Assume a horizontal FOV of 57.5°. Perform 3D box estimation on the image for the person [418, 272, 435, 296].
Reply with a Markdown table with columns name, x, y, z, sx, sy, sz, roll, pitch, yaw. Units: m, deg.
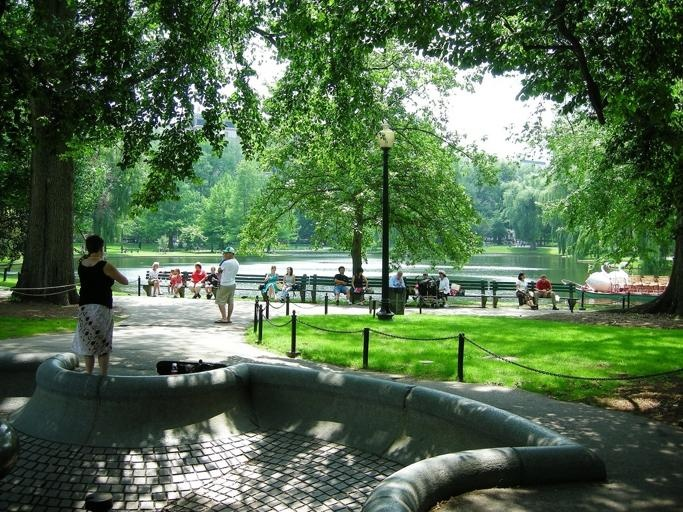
| name | x | y | z | sx | sy | sz | roll | pitch | yaw |
| --- | --- | --- | --- | --- | --- | --- | --- | --- | --- |
| person | 3.232 | 1.068 | 23.819 | 0.624 | 0.915 | 0.876 | 2 | 8 | 7 |

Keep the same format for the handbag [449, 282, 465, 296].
| name | x | y | z | sx | sy | sz | roll | pitch | yaw |
| --- | --- | --- | --- | --- | --- | --- | --- | --- | --- |
| handbag | 4.585 | 1.323 | 24.970 | 0.511 | 0.372 | 0.491 | 0 | -5 | 21 |

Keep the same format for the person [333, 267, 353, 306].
| name | x | y | z | sx | sy | sz | roll | pitch | yaw |
| --- | --- | --- | --- | --- | --- | --- | --- | --- | --- |
| person | 0.034 | 1.237 | 24.992 | 0.793 | 1.940 | 1.155 | 3 | -41 | -3 |

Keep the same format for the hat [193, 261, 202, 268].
| name | x | y | z | sx | sy | sz | roll | pitch | yaw |
| --- | --- | --- | --- | --- | --- | --- | --- | --- | --- |
| hat | -8.326 | 0.462 | 35.851 | 0.408 | 0.394 | 0.321 | -22 | 24 | -37 |

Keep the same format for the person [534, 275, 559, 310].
| name | x | y | z | sx | sy | sz | roll | pitch | yaw |
| --- | --- | --- | --- | --- | --- | --- | --- | --- | --- |
| person | 7.760 | 1.354 | 24.084 | 0.920 | 1.372 | 0.948 | 4 | -9 | -23 |

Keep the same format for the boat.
| name | x | y | z | sx | sy | sz | roll | pitch | yaw |
| --- | --- | --- | --- | --- | --- | --- | --- | --- | --- |
| boat | 11.790 | 1.525 | 26.883 | 4.483 | 1.068 | 1.218 | 1 | -2 | 1 |
